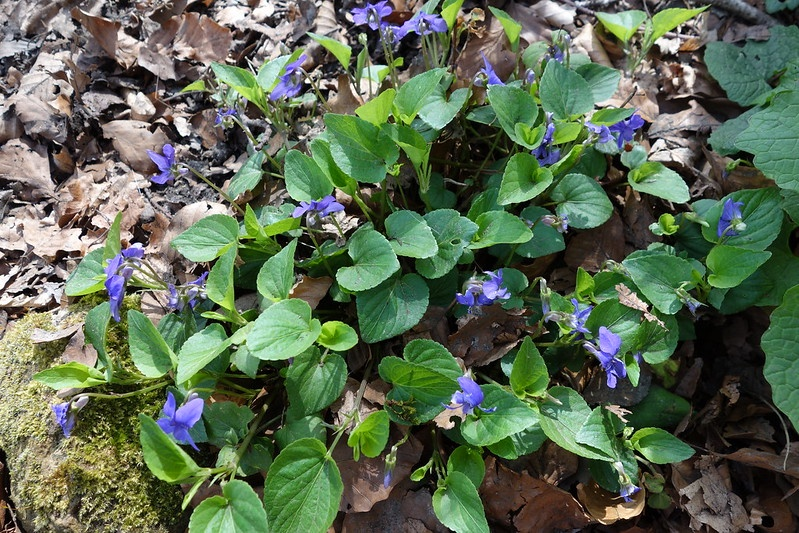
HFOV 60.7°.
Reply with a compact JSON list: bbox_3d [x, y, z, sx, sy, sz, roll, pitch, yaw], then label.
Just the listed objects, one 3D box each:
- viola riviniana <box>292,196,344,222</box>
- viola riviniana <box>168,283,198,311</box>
[{"bbox_3d":[-0.541,-0.389,4.486,0.197,0.207,0.088,-24,99,0],"label":"viola riviniana"},{"bbox_3d":[-1.468,0.207,4.634,0.209,0.199,0.162,-4,69,2],"label":"viola riviniana"}]
